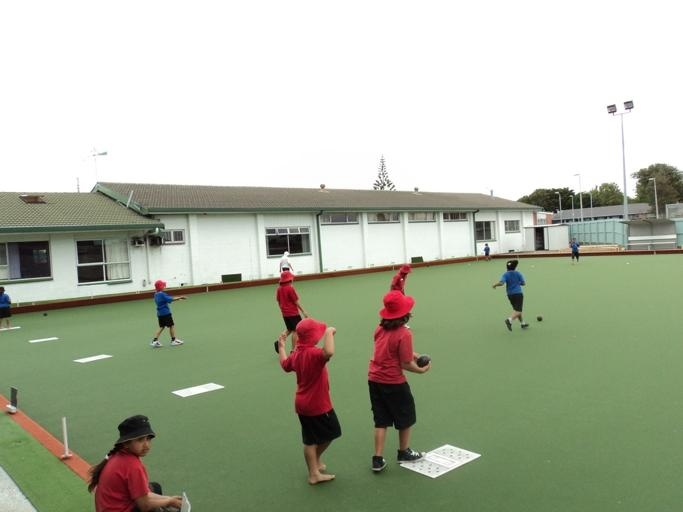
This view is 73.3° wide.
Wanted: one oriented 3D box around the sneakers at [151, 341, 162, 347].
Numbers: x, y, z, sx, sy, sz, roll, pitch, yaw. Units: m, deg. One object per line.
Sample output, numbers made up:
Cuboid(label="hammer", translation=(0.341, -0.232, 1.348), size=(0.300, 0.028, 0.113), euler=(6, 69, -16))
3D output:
Cuboid(label="sneakers", translation=(-4.377, 2.071, 10.892), size=(0.122, 0.106, 0.259), euler=(3, 1, 6))

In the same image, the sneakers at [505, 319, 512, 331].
Cuboid(label="sneakers", translation=(3.899, 1.610, 10.775), size=(0.127, 0.289, 0.097), euler=(-31, 20, 1))

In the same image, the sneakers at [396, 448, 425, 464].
Cuboid(label="sneakers", translation=(0.758, 2.225, 5.144), size=(0.326, 0.137, 0.130), euler=(-3, 0, 3))

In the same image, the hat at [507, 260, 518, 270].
Cuboid(label="hat", translation=(3.835, 0.205, 10.373), size=(0.181, 0.261, 0.419), euler=(-1, 4, 23))

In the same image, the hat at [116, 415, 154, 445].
Cuboid(label="hat", translation=(-1.671, 1.403, 3.759), size=(0.283, 0.137, 0.255), euler=(-11, -3, 3))

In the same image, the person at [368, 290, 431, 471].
Cuboid(label="person", translation=(0.596, 1.348, 5.084), size=(0.633, 1.920, 0.455), euler=(-3, 5, 1))

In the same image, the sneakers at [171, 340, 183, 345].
Cuboid(label="sneakers", translation=(-3.946, 2.059, 10.981), size=(0.214, 0.097, 0.119), euler=(-10, -6, 33))

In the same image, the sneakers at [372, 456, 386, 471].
Cuboid(label="sneakers", translation=(0.399, 2.238, 5.020), size=(0.146, 0.173, 0.163), euler=(-3, 4, 4))

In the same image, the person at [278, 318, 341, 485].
Cuboid(label="person", translation=(-0.287, 1.509, 4.841), size=(0.748, 1.756, 0.365), euler=(1, 7, 42))
